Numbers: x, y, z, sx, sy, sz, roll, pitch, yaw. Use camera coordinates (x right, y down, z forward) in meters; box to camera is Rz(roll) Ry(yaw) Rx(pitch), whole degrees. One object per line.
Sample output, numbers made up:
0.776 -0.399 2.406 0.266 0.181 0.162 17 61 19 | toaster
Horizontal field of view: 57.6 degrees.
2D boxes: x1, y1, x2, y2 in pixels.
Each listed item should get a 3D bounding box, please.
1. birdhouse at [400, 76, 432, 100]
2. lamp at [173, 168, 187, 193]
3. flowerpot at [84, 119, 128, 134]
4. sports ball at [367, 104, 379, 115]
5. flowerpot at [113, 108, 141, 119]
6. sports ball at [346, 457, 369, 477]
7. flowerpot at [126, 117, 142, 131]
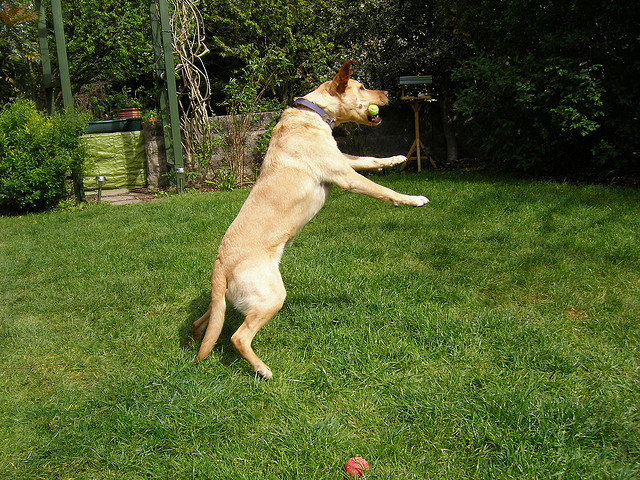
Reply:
2.403 -3.905 14.756 0.846 0.678 0.497 -1 -3 3 | birdhouse
-3.107 -1.355 12.962 0.159 0.534 0.106 -8 13 -28 | lamp
-5.397 -2.897 14.765 0.997 0.318 0.466 -7 14 -21 | flowerpot
0.593 -1.497 6.604 0.103 0.111 0.108 25 -24 12 | sports ball
-5.137 -3.475 15.799 0.473 0.258 0.528 -7 14 -24 | flowerpot
0.315 1.947 4.967 0.193 0.109 0.120 -2 12 0 | sports ball
-4.795 -3.023 15.034 0.292 0.239 0.307 -9 23 -18 | flowerpot
